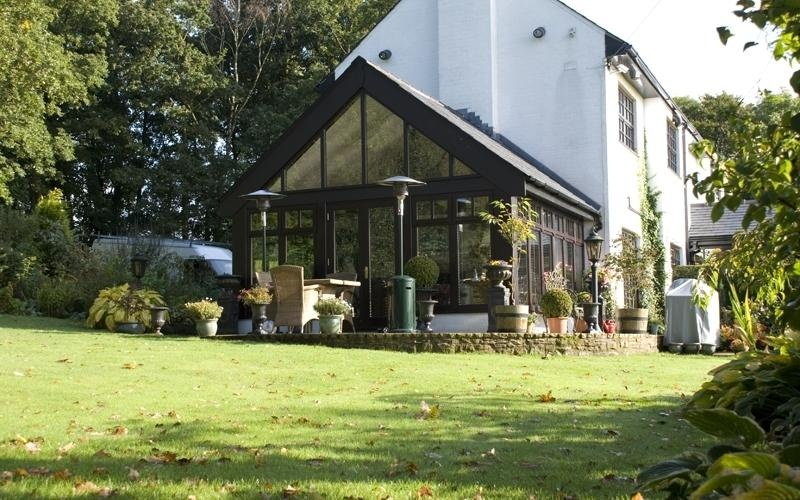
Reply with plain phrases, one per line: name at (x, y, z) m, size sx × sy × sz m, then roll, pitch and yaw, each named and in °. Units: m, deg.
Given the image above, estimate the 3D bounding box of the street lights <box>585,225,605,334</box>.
street lights at (5.163, 0.699, 24.166) m, size 0.629 × 2.751 × 0.625 m, roll 2°, pitch 1°, yaw 5°

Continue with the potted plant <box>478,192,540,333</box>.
potted plant at (2.959, 0.284, 23.461) m, size 1.610 × 3.614 × 2.012 m, roll 2°, pitch -6°, yaw -10°

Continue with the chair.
chair at (-2.209, 1.252, 22.873) m, size 2.284 × 1.549 × 2.277 m, roll 1°, pitch -6°, yaw -5°

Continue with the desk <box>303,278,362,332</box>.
desk at (-1.551, 1.263, 24.056) m, size 1.004 × 1.123 × 1.048 m, roll 7°, pitch -4°, yaw -26°

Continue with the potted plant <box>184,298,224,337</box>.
potted plant at (-4.903, 1.776, 23.056) m, size 0.945 × 1.003 × 0.958 m, roll -8°, pitch -13°, yaw 10°

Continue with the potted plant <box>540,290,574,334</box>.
potted plant at (3.992, 1.546, 23.301) m, size 0.783 × 1.129 × 0.628 m, roll -3°, pitch -7°, yaw 28°

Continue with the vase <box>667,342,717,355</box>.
vase at (7.721, 2.622, 24.005) m, size 1.185 × 0.284 × 0.604 m, roll -2°, pitch -7°, yaw 21°

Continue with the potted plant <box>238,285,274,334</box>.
potted plant at (-3.583, 1.587, 23.019) m, size 0.885 × 1.106 × 0.875 m, roll -5°, pitch -6°, yaw 20°

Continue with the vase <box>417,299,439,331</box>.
vase at (0.675, 1.657, 23.068) m, size 0.423 × 0.826 × 0.546 m, roll 2°, pitch -6°, yaw -8°

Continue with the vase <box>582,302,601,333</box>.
vase at (5.001, 1.746, 23.624) m, size 0.363 × 0.807 × 1.290 m, roll 0°, pitch -7°, yaw 11°

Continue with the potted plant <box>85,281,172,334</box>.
potted plant at (-7.193, 1.508, 24.093) m, size 1.367 × 0.974 × 1.455 m, roll -2°, pitch -5°, yaw 31°
